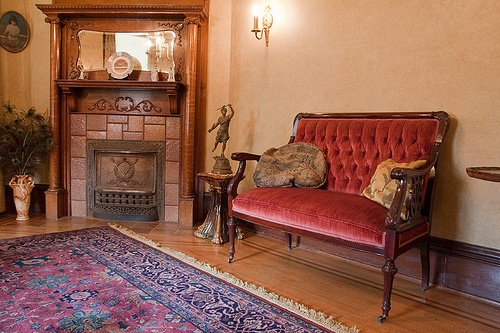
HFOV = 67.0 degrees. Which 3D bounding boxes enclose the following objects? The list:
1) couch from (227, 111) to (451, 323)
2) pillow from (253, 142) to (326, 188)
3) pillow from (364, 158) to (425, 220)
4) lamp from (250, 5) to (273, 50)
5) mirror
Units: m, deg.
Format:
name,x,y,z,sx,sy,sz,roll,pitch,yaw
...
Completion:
name,x,y,z,sx,sy,sz,roll,pitch,yaw
couch,0.813,0.278,3.825,1.926,1.504,1.267,7,15,44
pillow,0.426,-0.001,3.936,0.641,0.469,0.127,4,-33,16
pillow,1.348,0.187,3.432,0.162,0.500,0.506,24,-15,-19
lamp,0.081,-1.725,4.608,0.297,0.497,0.295,8,10,40
mirror,-1.607,-1.422,4.971,0.040,0.721,1.567,26,27,36
